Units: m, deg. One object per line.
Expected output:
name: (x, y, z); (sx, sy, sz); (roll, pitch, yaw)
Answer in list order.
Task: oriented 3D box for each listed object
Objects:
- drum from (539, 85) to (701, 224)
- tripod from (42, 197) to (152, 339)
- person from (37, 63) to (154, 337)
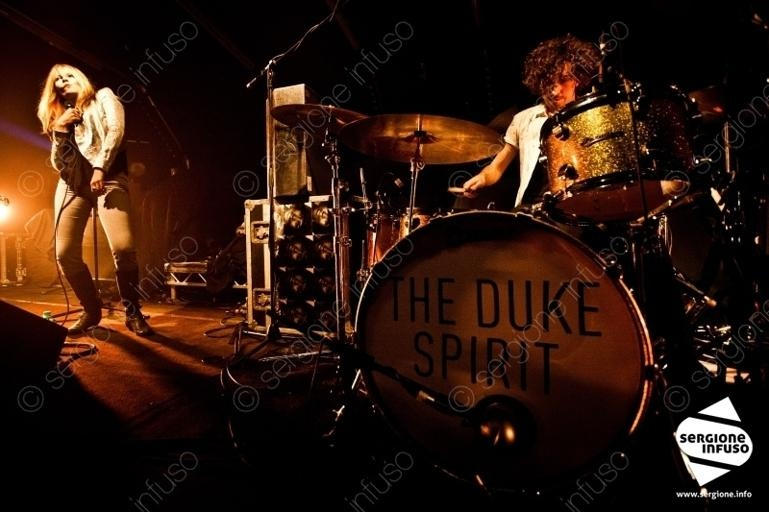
drum: (1.637, -0.693, 4.849); (1.036, 0.635, 1.008); (3, -21, 1)
tripod: (-2.614, -0.266, 6.132); (0.643, 2.058, 0.478); (-5, 15, -20)
person: (-2.629, -0.502, 6.073); (0.936, 2.486, 0.516); (-1, 3, -15)
